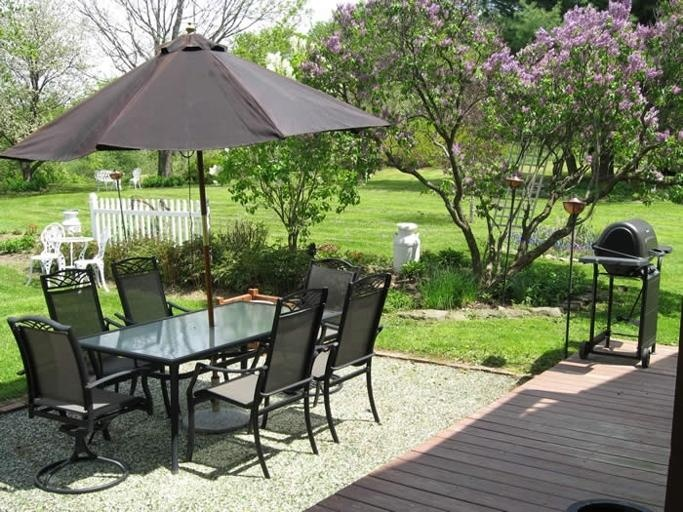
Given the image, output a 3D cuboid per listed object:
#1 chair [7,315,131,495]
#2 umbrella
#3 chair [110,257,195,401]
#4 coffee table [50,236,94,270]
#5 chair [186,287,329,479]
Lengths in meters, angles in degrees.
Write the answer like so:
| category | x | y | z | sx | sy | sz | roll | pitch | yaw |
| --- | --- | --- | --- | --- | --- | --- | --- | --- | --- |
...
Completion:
| category | x | y | z | sx | sy | sz | roll | pitch | yaw |
| --- | --- | --- | --- | --- | --- | --- | --- | --- | --- |
| chair | -2.239 | 1.182 | 4.862 | 0.863 | 1.471 | 0.551 | -1 | 9 | 18 |
| umbrella | -1.528 | -0.814 | 5.545 | 2.626 | 2.169 | 2.676 | 3 | 11 | 35 |
| chair | -1.970 | 0.731 | 6.461 | 0.863 | 1.362 | 0.775 | 11 | 19 | 31 |
| coffee table | -5.395 | 0.027 | 11.878 | 0.801 | 0.615 | 0.823 | 1 | 4 | 2 |
| chair | -0.725 | 1.097 | 5.319 | 1.027 | 1.543 | 0.936 | 4 | 5 | 26 |
